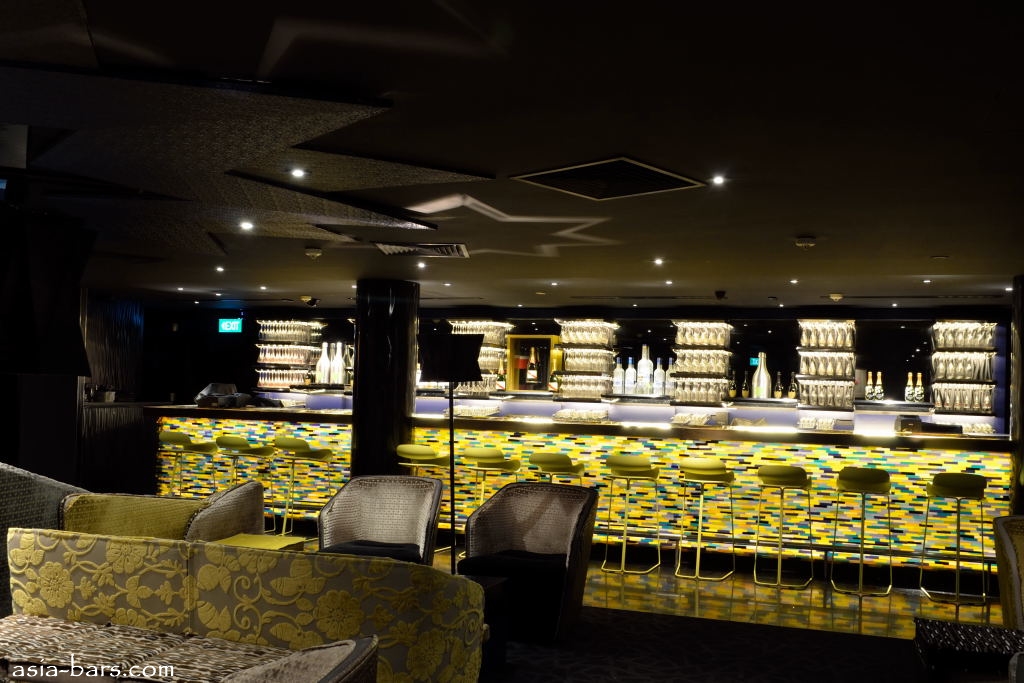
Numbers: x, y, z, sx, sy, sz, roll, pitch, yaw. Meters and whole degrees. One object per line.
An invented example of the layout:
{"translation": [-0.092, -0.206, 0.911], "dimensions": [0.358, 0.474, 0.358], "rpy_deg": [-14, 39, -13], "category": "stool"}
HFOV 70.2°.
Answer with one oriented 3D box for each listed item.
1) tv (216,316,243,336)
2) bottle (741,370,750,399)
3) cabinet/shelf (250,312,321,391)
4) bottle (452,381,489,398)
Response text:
{"translation": [-5.581, -0.287, 14.434], "dimensions": [0.531, 0.329, 0.130], "rpy_deg": [2, -1, 25], "category": "tv"}
{"translation": [4.133, 0.729, 13.016], "dimensions": [0.157, 0.479, 0.135], "rpy_deg": [3, 0, -2], "category": "bottle"}
{"translation": [-4.297, 0.185, 14.008], "dimensions": [1.909, 1.414, 0.633], "rpy_deg": [1, -4, -2], "category": "cabinet/shelf"}
{"translation": [-0.701, 0.843, 12.435], "dimensions": [0.578, 0.275, 0.446], "rpy_deg": [2, -1, -4], "category": "bottle"}
